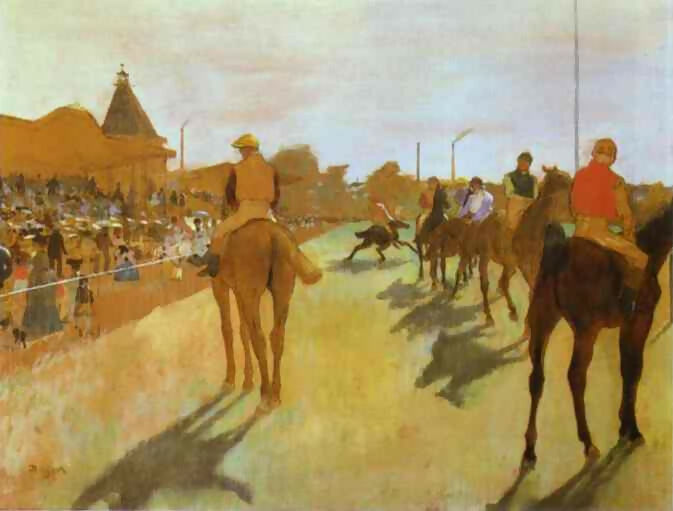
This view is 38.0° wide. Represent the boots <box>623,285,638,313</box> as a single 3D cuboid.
[{"bbox_3d":[3.066,0.461,10.177,0.169,0.245,0.070,2,1,-22],"label":"boots"}]
